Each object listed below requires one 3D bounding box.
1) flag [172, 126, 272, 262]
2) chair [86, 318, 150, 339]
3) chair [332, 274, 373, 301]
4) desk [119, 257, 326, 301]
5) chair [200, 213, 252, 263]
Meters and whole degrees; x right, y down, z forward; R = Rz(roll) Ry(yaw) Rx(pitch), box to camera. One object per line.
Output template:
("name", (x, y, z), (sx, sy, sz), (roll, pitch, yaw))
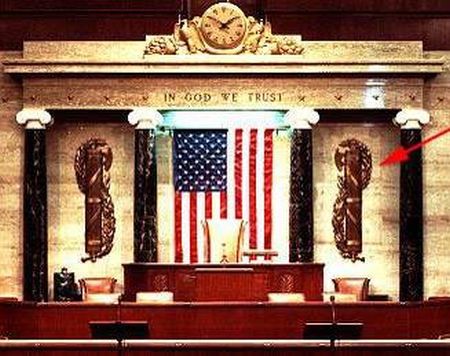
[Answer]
("flag", (-0.119, 0.421, 34.971), (2.993, 3.750, 0.099), (-1, 3, -1))
("chair", (-1.918, 2.718, 29.090), (1.088, 0.314, 0.351), (-1, 6, 1))
("chair", (2.625, 2.230, 34.100), (0.635, 0.606, 0.482), (0, -1, 16))
("desk", (-0.063, 1.988, 32.307), (4.147, 0.806, 0.638), (0, 13, -6))
("chair", (-0.060, 1.418, 33.431), (0.937, 0.999, 0.684), (9, -36, -14))
